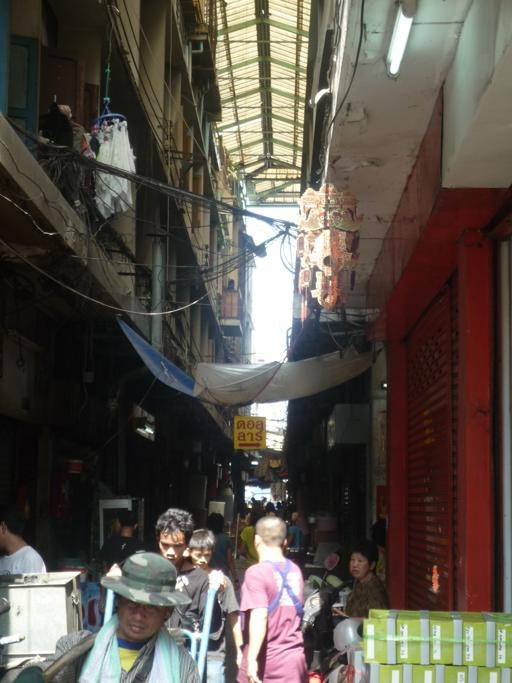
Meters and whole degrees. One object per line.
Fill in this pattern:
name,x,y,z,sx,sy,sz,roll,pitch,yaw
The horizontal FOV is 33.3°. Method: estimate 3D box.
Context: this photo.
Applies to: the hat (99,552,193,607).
hat,-0.329,0.851,3.102,0.284,0.151,0.293,-3,-5,35
